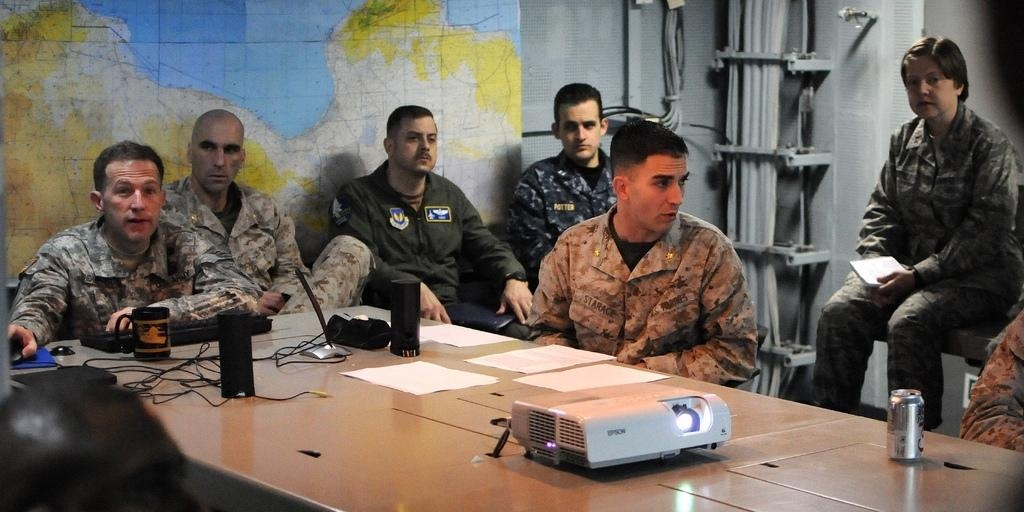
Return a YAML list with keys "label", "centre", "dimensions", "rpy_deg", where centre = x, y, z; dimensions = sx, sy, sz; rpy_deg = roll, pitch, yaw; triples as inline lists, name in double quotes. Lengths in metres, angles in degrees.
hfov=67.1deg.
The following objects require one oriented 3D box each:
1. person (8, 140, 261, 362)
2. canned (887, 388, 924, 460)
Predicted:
- label: "person"
  centre: [-2.098, -0.035, 4.164]
  dimensions: [1.422, 1.202, 0.983]
  rpy_deg: [-4, 4, -33]
- label: "canned"
  centre: [1.306, 0.549, 2.563]
  dimensions: [0.109, 0.218, 0.144]
  rpy_deg: [3, 10, 24]
